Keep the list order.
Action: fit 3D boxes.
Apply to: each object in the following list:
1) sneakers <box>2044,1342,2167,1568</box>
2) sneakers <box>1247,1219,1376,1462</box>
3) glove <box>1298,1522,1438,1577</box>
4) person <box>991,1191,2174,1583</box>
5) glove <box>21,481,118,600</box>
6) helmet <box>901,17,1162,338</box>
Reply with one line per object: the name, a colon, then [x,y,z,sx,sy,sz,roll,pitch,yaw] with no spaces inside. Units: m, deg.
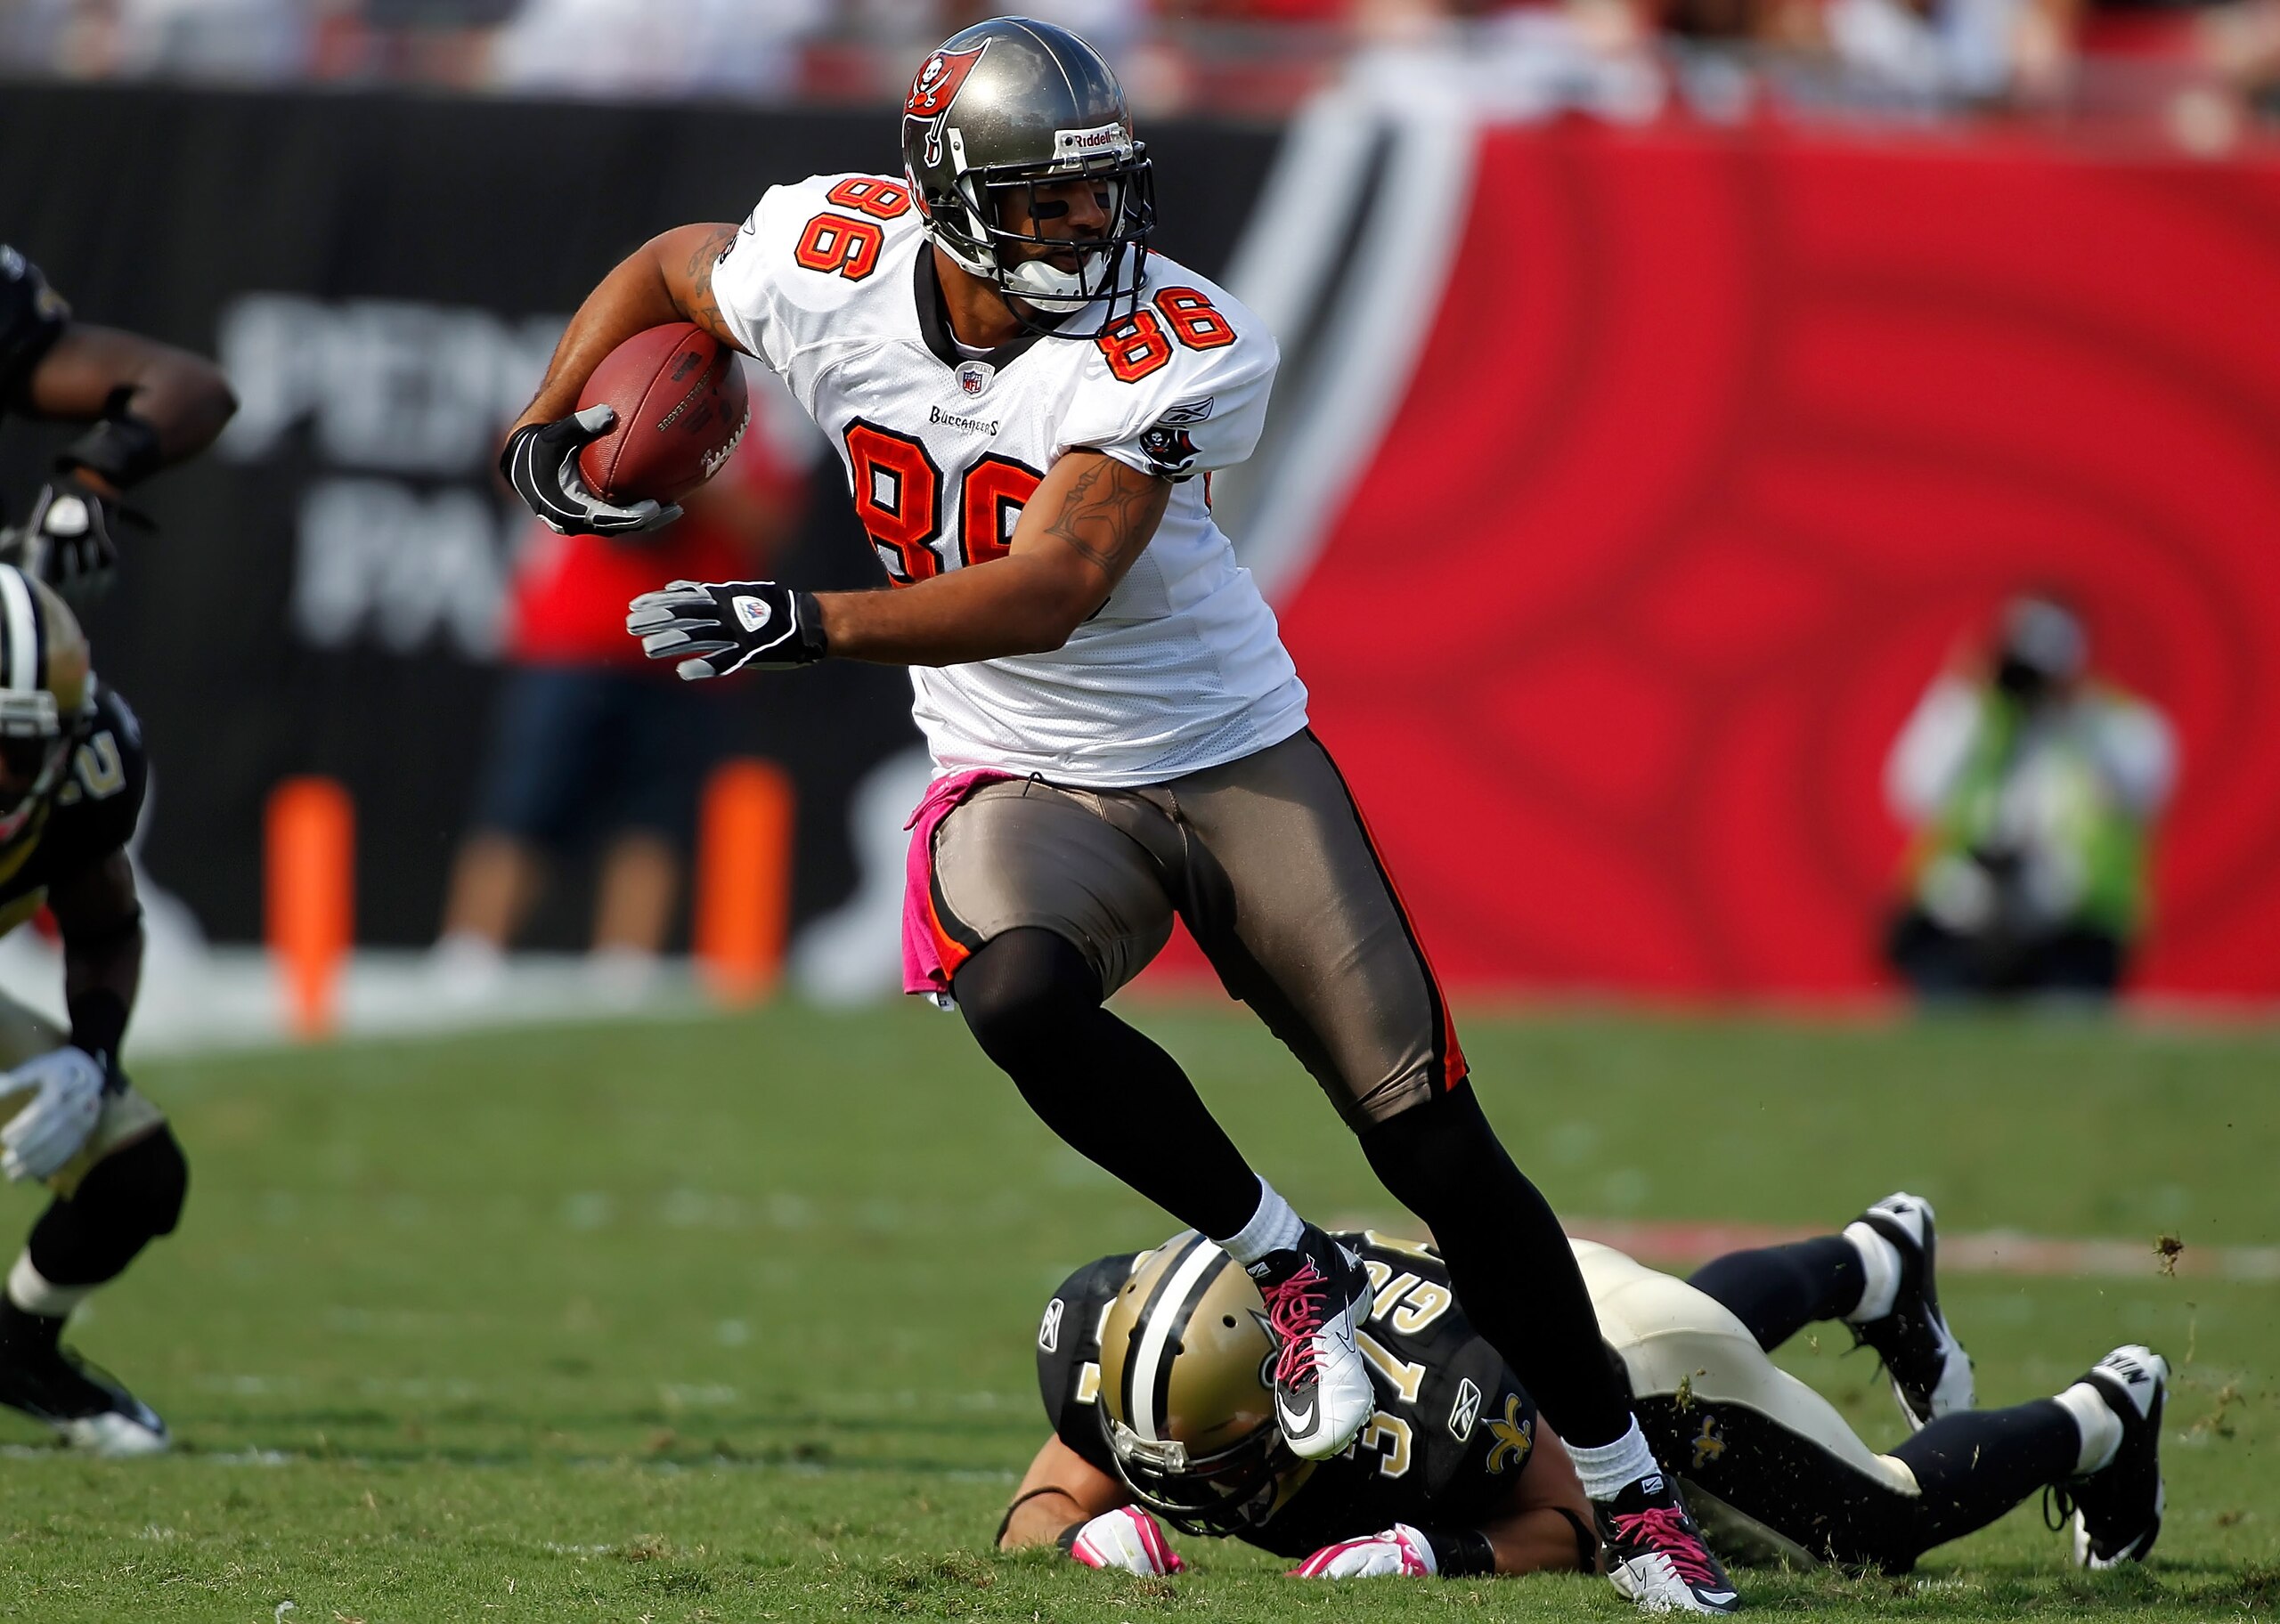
sneakers: [1.828,1.219,5.779,0.189,0.465,0.144,-3,17,-22]
sneakers: [0.276,0.914,5.458,0.159,0.487,0.223,-26,-50,23]
glove: [0.416,1.318,5.462,0.144,0.068,0.116,-3,5,13]
person: [0.872,1.145,5.655,1.799,0.603,0.889,3,-11,-23]
glove: [-1.998,-0.506,5.808,0.144,0.204,0.203,1,-18,-17]
helmet: [-0.215,-1.200,5.598,0.395,0.493,0.537,-15,38,-32]
